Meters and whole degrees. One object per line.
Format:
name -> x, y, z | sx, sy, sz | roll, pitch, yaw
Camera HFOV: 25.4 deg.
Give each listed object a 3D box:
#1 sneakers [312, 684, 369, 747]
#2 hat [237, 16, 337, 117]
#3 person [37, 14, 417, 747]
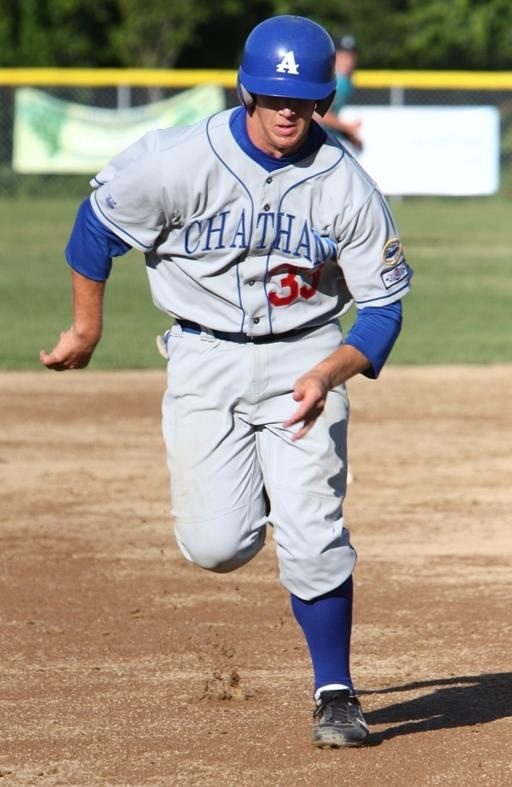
sneakers -> 0.200, 0.757, 2.642 | 0.130, 0.123, 0.152 | 2, 12, 3
hat -> 0.065, -0.761, 2.559 | 0.209, 0.175, 0.236 | 5, 41, -5
person -> -0.069, -0.048, 2.687 | 0.823, 1.669, 0.480 | 5, 14, 13
